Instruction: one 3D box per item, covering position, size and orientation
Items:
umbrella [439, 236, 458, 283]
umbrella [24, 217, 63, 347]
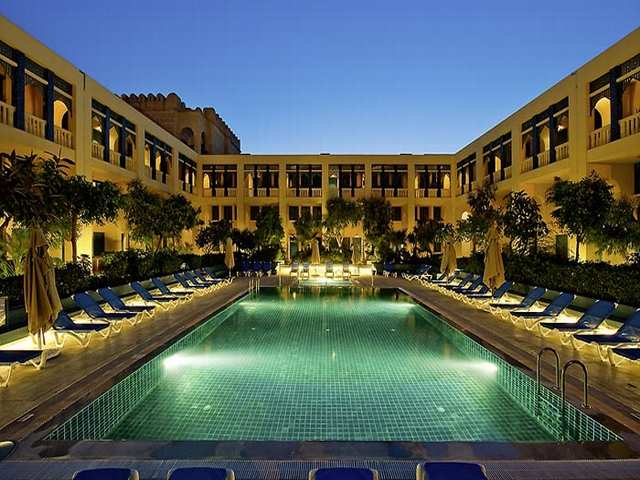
[{"bbox_3d":[5.261,0.602,17.294,0.749,1.704,0.667,-8,26,-8],"label":"umbrella"},{"bbox_3d":[-5.436,1.002,8.153,0.570,2.389,0.682,-6,10,-37],"label":"umbrella"}]
